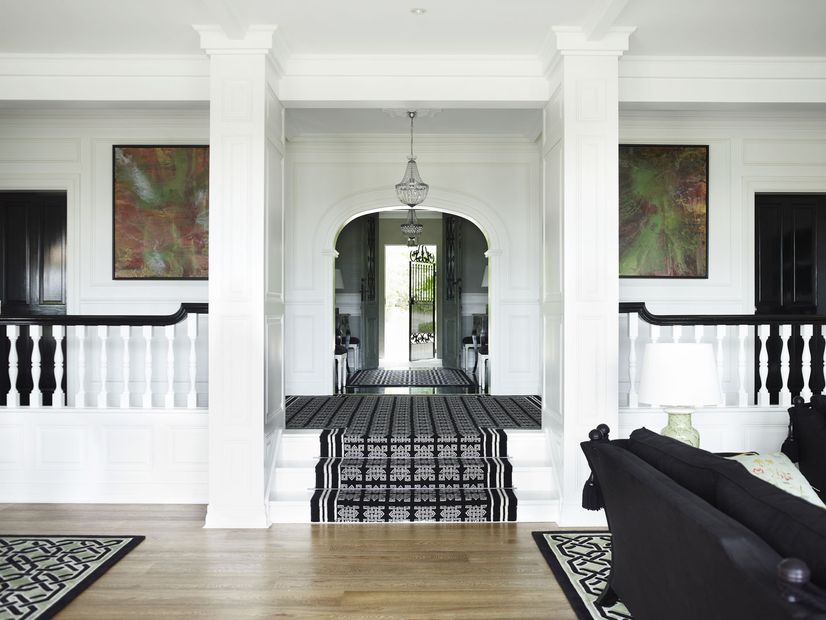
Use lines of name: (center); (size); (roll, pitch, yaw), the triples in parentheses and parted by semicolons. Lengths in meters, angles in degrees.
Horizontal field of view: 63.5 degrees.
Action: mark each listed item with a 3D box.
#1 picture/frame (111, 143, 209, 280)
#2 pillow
picture/frame: (-2.982, -1.150, 7.870); (1.115, 1.547, 0.310); (0, 11, 1)
pillow: (2.166, 0.987, 3.925); (0.480, 0.124, 0.500); (4, 14, 16)
